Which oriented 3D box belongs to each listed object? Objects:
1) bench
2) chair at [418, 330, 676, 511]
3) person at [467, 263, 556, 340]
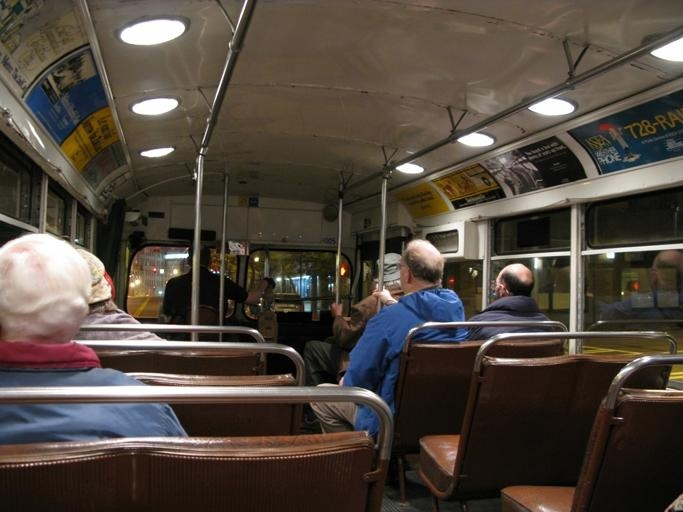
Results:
[{"bbox_3d":[-0.718,0.606,2.463,0.736,0.507,0.304,5,21,-9],"label":"bench"},{"bbox_3d":[1.139,1.012,3.548,1.217,1.487,1.150,1,-1,-15],"label":"chair"},{"bbox_3d":[1.568,0.462,4.858,0.929,0.761,0.492,7,4,-29],"label":"person"}]
